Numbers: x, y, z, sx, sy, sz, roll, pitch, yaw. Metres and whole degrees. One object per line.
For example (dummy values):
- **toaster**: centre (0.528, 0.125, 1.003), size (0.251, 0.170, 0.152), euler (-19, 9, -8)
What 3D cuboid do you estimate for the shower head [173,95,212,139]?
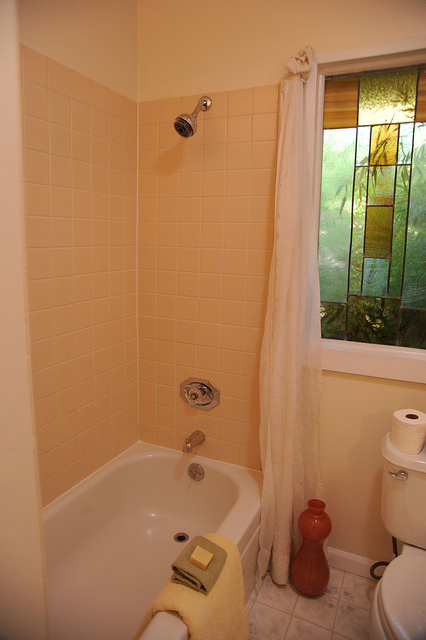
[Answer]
- **shower head**: centre (-0.079, -0.796, 1.784), size (0.080, 0.174, 0.209), euler (9, 12, 16)

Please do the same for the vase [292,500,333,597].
- **vase**: centre (0.381, 0.878, 1.764), size (0.139, 0.374, 0.151), euler (12, 12, 29)

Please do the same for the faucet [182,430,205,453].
- **faucet**: centre (-0.086, 0.536, 2.035), size (0.060, 0.046, 0.112), euler (23, 11, 16)
